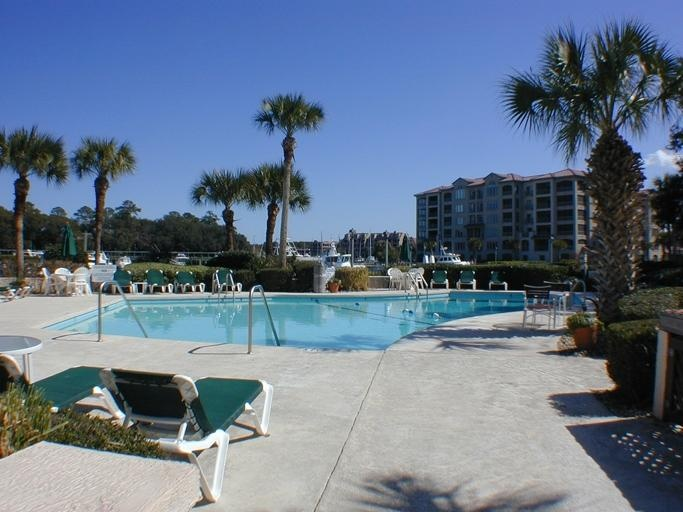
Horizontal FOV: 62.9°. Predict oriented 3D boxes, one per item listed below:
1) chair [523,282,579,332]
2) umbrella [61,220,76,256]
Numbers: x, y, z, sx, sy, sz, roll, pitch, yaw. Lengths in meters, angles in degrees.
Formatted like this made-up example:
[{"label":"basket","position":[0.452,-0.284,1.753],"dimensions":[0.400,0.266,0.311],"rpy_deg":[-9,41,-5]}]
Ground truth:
[{"label":"chair","position":[5.081,1.198,13.865],"dimensions":[0.897,1.039,2.066],"rpy_deg":[2,2,33]},{"label":"umbrella","position":[-12.429,-0.713,25.382],"dimensions":[0.563,1.498,1.428],"rpy_deg":[-6,10,-28]}]
